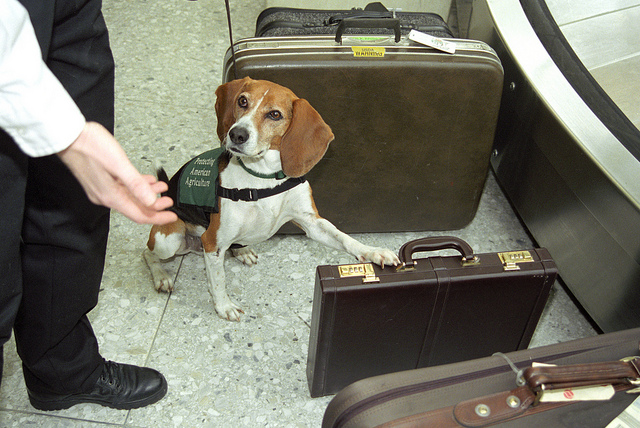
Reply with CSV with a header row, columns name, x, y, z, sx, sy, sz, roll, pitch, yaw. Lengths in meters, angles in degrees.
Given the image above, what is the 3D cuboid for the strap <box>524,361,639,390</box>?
name,x,y,z,sx,sy,sz,roll,pitch,yaw
strap,0.841,0.518,1.628,0.387,0.078,0.130,3,60,-16

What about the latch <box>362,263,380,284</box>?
name,x,y,z,sx,sy,sz,roll,pitch,yaw
latch,0.212,0.252,2.085,0.063,0.018,0.069,0,60,-4

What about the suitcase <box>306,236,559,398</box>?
name,x,y,z,sx,sy,sz,roll,pitch,yaw
suitcase,0.472,0.453,2.104,0.892,0.752,0.209,-5,52,-10

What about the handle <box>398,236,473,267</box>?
name,x,y,z,sx,sy,sz,roll,pitch,yaw
handle,0.492,0.161,2.099,0.299,0.056,0.158,-6,40,2

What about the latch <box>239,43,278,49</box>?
name,x,y,z,sx,sy,sz,roll,pitch,yaw
latch,-0.315,-0.879,2.551,0.200,0.021,0.031,-6,64,-4

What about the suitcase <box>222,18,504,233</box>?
name,x,y,z,sx,sy,sz,roll,pitch,yaw
suitcase,0.212,-0.491,2.624,1.248,1.118,0.416,-2,37,-5

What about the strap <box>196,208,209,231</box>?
name,x,y,z,sx,sy,sz,roll,pitch,yaw
strap,-0.584,0.019,2.463,0.051,0.022,0.096,-14,93,-33

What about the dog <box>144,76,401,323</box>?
name,x,y,z,sx,sy,sz,roll,pitch,yaw
dog,-0.384,-0.116,2.578,1.465,1.157,0.605,13,27,30
